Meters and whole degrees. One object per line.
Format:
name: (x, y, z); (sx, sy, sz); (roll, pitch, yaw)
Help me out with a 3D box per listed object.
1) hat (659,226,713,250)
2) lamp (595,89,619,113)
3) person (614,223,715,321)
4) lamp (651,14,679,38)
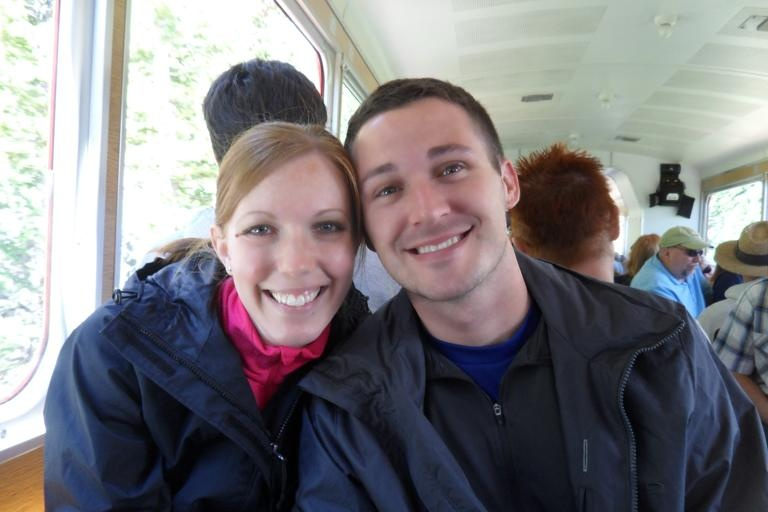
hat: (2.763, -0.149, 5.211); (0.361, 0.187, 0.238); (-1, 0, 42)
lamp: (2.857, -2.032, 7.322); (0.150, 0.165, 0.177); (-1, -29, 11)
person: (2.523, 0.123, 5.026); (0.965, 0.877, 0.552); (-29, 31, -37)
lamp: (2.739, -2.272, 5.551); (0.153, 0.039, 0.166); (12, -35, 1)
